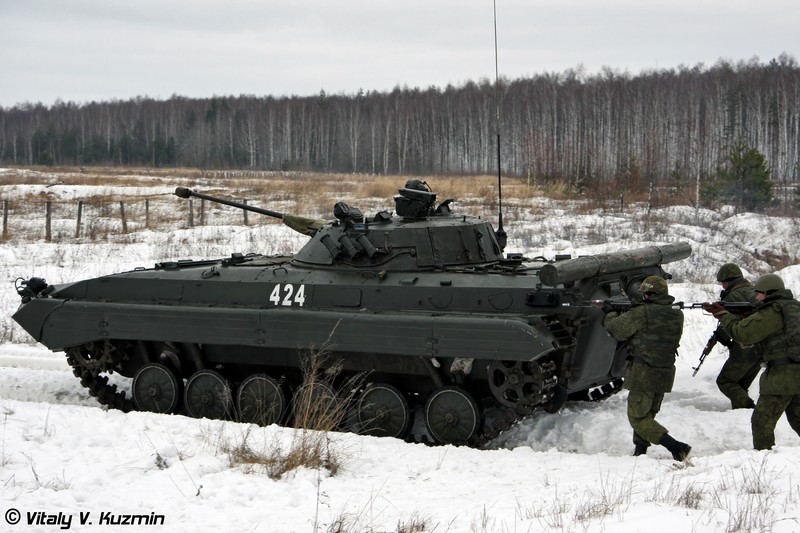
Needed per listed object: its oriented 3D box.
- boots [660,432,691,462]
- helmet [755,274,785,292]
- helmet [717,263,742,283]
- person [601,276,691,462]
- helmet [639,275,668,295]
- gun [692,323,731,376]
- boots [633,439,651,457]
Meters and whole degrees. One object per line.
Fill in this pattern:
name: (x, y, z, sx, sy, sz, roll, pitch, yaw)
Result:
boots: (5.469, 3.574, 19.197, 0.614, 0.304, 0.894, 35, 10, 6)
helmet: (7.445, 0.338, 19.372, 0.455, 0.395, 0.340, 10, 6, 41)
helmet: (7.294, 0.133, 21.429, 0.390, 0.429, 0.516, -6, 14, -42)
person: (5.046, 2.022, 19.495, 1.504, 3.632, 0.727, 1, -9, 14)
helmet: (5.164, 0.350, 19.596, 0.465, 0.307, 0.351, 10, 0, 33)
gun: (7.426, 2.017, 22.928, 0.187, 1.319, 0.501, 29, -1, -24)
boots: (4.903, 3.694, 19.642, 0.283, 0.333, 0.323, 2, -2, 17)
